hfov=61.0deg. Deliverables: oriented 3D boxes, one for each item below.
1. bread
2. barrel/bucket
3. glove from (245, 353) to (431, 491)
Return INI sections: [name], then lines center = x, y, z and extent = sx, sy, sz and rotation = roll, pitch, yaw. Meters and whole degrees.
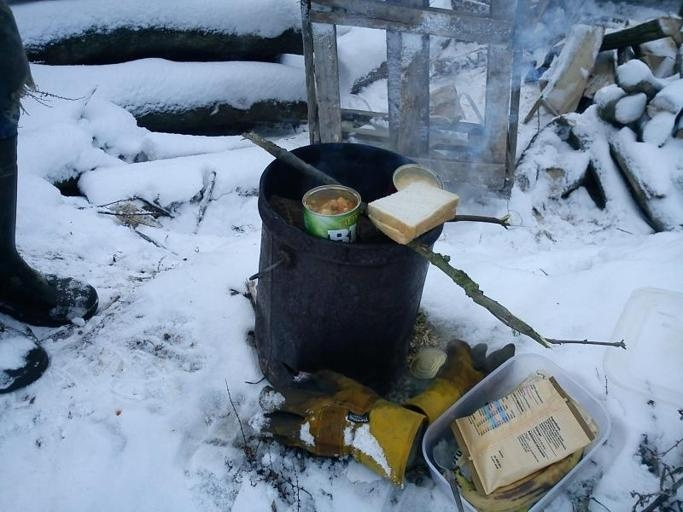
[bread]
center = 0.367, -0.243, 3.106
extent = 0.299, 0.165, 0.665
rotation = 24, 41, 31
[barrel/bucket]
center = 0.058, 0.137, 3.673
extent = 1.063, 1.548, 1.045
rotation = 1, 33, -1
[glove]
center = -0.029, 0.885, 3.205
extent = 0.919, 0.314, 0.402
rotation = 19, 51, 13
